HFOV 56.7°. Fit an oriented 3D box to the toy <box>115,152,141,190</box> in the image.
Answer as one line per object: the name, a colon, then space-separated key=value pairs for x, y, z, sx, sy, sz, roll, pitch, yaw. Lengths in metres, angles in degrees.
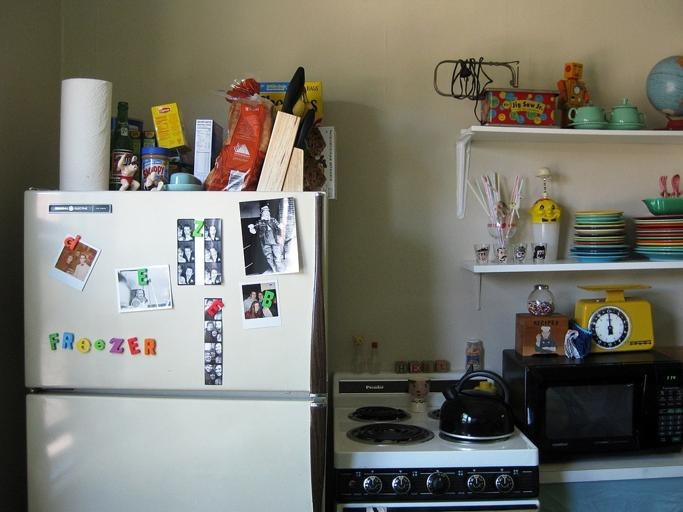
toy: x=-0.800 y=-0.317 z=2.372 sx=0.072 sy=0.139 sz=0.032 roll=-3 pitch=2 yaw=-30

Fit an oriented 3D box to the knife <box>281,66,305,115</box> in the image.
knife: x=-0.170 y=-0.608 z=2.373 sx=0.059 sy=0.215 sz=0.056 roll=17 pitch=5 yaw=-3

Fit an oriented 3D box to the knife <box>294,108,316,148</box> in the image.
knife: x=-0.134 y=-0.467 z=2.364 sx=0.045 sy=0.201 sz=0.018 roll=12 pitch=-1 yaw=-1

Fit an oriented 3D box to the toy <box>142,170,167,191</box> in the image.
toy: x=-0.701 y=-0.283 z=2.373 sx=0.081 sy=0.068 sz=0.060 roll=-2 pitch=2 yaw=-19

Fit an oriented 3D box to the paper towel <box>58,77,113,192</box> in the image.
paper towel: x=-0.945 y=-0.444 z=2.329 sx=0.190 sy=0.405 sz=0.069 roll=-2 pitch=2 yaw=-17

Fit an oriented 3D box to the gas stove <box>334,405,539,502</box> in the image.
gas stove: x=0.361 y=0.809 z=2.853 sx=0.922 sy=0.234 sz=0.917 roll=0 pitch=-1 yaw=-1

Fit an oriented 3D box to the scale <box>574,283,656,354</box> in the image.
scale: x=1.204 y=0.272 z=2.803 sx=0.331 sy=0.293 sz=0.116 roll=-2 pitch=2 yaw=-1

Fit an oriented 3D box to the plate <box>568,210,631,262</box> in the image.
plate: x=1.132 y=-0.103 z=2.825 sx=0.217 sy=0.231 sz=0.211 roll=1 pitch=9 yaw=-1
